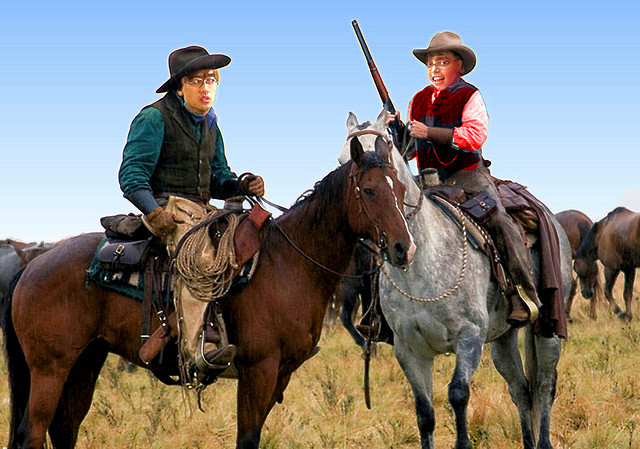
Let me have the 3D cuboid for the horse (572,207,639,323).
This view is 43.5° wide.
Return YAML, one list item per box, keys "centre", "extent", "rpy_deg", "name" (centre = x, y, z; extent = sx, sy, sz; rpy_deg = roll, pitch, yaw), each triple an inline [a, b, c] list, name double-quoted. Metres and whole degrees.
- centre: [7.018, 0.826, 19.450]
  extent: [1.406, 2.782, 2.401]
  rpy_deg: [1, 0, 15]
  name: "horse"

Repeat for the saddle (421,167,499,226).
- centre: [1.686, -0.333, 9.657]
  extent: [0.820, 0.304, 0.612]
  rpy_deg: [29, 22, -2]
  name: "saddle"

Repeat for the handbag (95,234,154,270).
- centre: [-2.154, 0.254, 8.758]
  extent: [0.557, 0.208, 0.679]
  rpy_deg: [0, 24, -9]
  name: "handbag"

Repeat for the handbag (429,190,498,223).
- centre: [1.855, -0.235, 9.531]
  extent: [0.423, 0.141, 0.311]
  rpy_deg: [30, 45, 17]
  name: "handbag"
